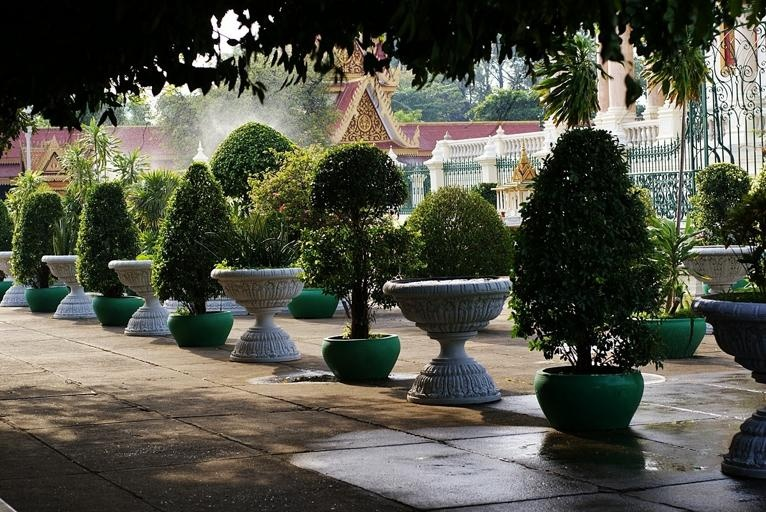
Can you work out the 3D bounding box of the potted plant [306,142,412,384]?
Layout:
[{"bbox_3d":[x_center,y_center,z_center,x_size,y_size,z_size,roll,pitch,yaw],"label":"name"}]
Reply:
[{"bbox_3d":[-0.326,0.054,10.700,1.147,2.307,0.751,2,-1,0],"label":"potted plant"}]

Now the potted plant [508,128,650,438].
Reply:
[{"bbox_3d":[1.710,0.195,8.057,1.238,1.967,0.500,2,-1,17],"label":"potted plant"}]
